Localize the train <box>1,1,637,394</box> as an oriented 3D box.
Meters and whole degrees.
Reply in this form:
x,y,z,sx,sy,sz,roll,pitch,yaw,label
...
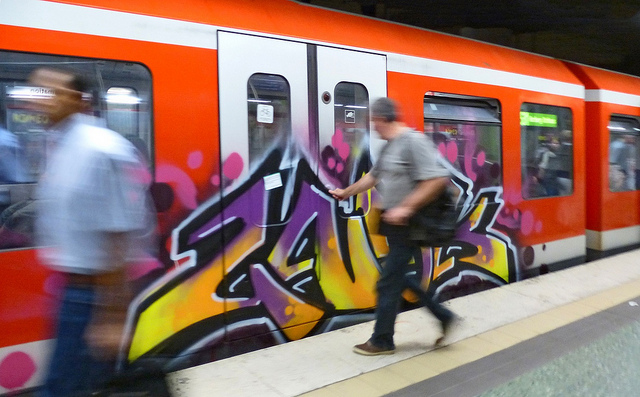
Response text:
x,y,z,sx,sy,sz,roll,pitch,yaw,label
1.560,-0.426,7.653,11.536,3.579,2.182,-3,3,-42,train

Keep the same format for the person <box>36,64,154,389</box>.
x,y,z,sx,sy,sz,roll,pitch,yaw,label
-1.689,0.299,3.523,0.758,2.393,0.461,-4,12,-17,person
